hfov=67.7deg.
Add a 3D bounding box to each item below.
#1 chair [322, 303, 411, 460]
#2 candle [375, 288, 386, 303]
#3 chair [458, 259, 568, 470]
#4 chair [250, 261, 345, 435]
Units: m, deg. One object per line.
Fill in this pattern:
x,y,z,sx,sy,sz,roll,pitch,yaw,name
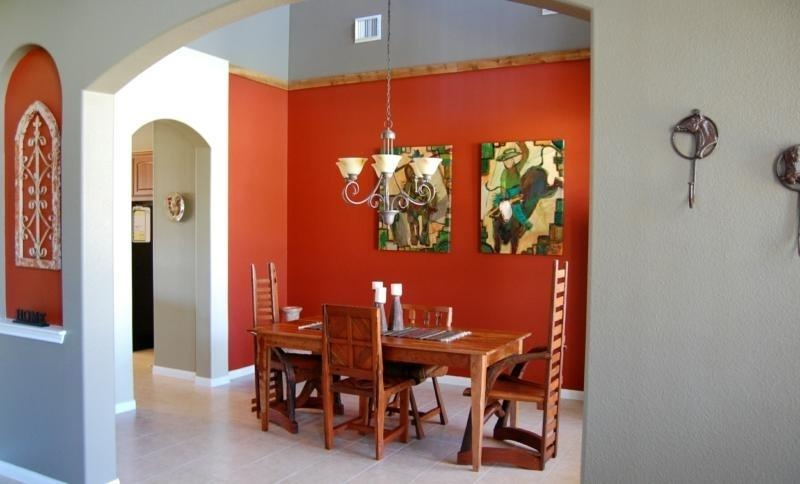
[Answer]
-0.294,1.238,5.491,0.710,1.262,0.774,-2,-4,38,chair
-0.192,0.498,5.653,0.135,0.144,0.133,-1,-5,11,candle
1.032,1.134,5.411,1.081,1.574,1.094,2,-5,-19,chair
-1.086,1.026,5.992,0.949,1.465,0.875,2,2,20,chair
